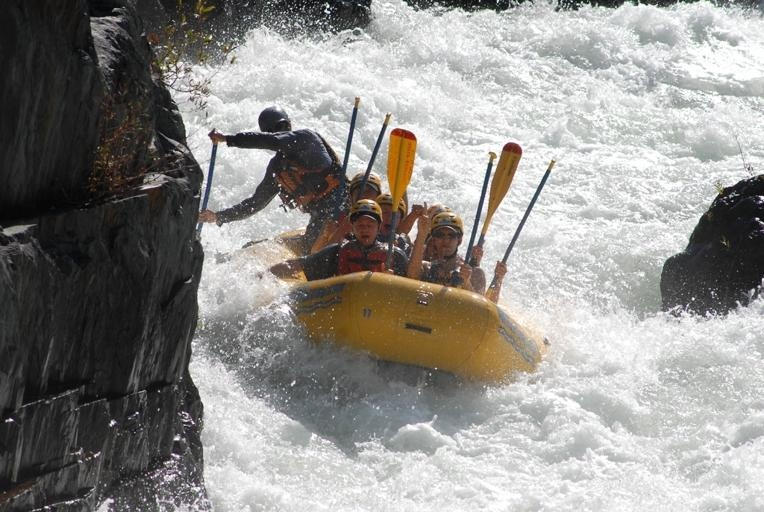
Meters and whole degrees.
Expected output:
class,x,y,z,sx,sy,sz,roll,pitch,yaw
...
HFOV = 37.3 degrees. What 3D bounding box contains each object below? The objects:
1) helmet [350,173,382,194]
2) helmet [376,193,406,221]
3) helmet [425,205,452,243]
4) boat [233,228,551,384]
class,x,y,z,sx,sy,sz,roll,pitch,yaw
helmet,-0.156,-0.878,13.405,0.232,0.215,0.319,-3,82,13
helmet,0.131,-0.535,13.052,0.251,0.327,0.300,6,40,3
helmet,0.639,-0.386,12.308,0.299,0.391,0.360,9,65,9
boat,0.341,0.684,11.509,2.019,1.183,0.424,25,85,0
